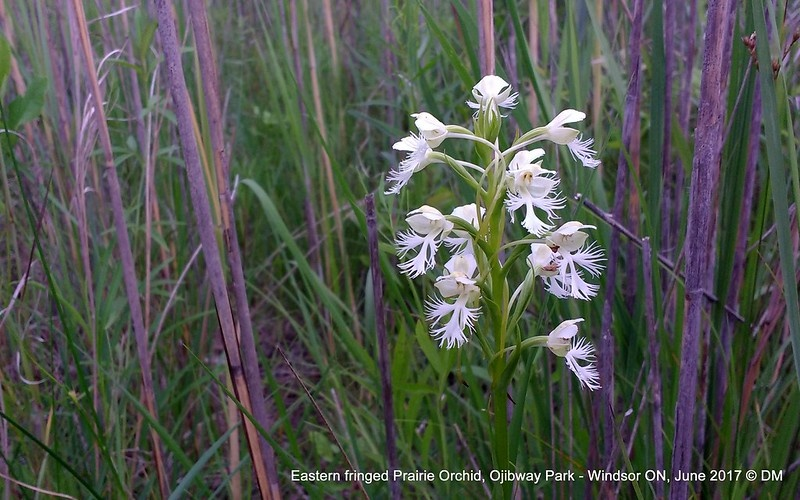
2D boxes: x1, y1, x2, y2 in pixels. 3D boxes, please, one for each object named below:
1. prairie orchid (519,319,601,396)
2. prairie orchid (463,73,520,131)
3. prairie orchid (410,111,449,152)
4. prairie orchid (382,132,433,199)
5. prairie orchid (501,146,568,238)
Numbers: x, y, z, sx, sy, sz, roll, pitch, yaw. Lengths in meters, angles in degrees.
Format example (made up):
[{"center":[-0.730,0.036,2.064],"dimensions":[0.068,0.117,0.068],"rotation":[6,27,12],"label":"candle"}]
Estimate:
[{"center":[0.432,0.260,2.039],"dimensions":[0.243,0.151,0.129],"rotation":[20,23,25],"label":"prairie orchid"},{"center":[0.252,-0.391,2.062],"dimensions":[0.151,0.169,0.178],"rotation":[4,58,2],"label":"prairie orchid"},{"center":[0.085,-0.348,2.049],"dimensions":[0.081,0.102,0.157],"rotation":[-11,30,1],"label":"prairie orchid"},{"center":[0.009,-0.223,2.092],"dimensions":[0.068,0.179,0.161],"rotation":[6,40,-23],"label":"prairie orchid"},{"center":[0.331,-0.148,1.994],"dimensions":[0.173,0.273,0.096],"rotation":[-16,2,-42],"label":"prairie orchid"}]
